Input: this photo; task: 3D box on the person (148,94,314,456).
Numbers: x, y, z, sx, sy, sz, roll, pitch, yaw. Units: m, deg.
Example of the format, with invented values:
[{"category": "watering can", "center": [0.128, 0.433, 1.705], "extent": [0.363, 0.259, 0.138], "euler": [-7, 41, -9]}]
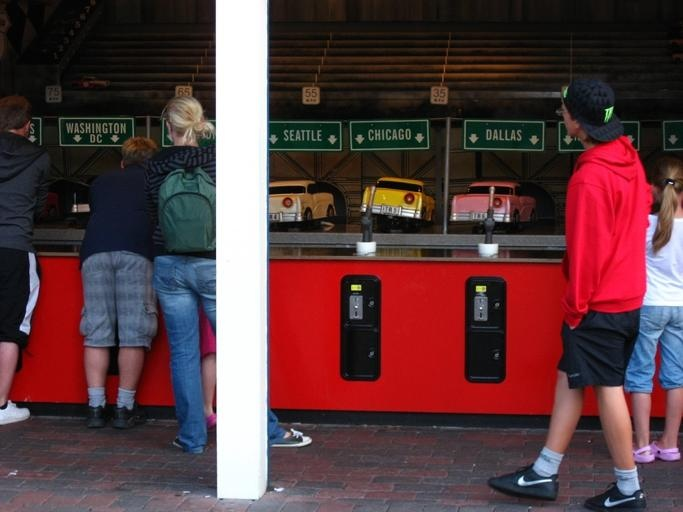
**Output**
[{"category": "person", "center": [-0.904, 0.121, 6.675], "extent": [0.848, 2.337, 0.448], "euler": [1, 6, 32]}]

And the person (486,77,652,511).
[{"category": "person", "center": [1.451, 0.226, 6.018], "extent": [0.876, 2.523, 0.436], "euler": [-2, 5, 3]}]

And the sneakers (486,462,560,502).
[{"category": "sneakers", "center": [1.089, 1.351, 6.082], "extent": [0.485, 0.186, 0.169], "euler": [5, -18, 9]}]

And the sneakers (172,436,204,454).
[{"category": "sneakers", "center": [-1.026, 1.259, 6.764], "extent": [0.229, 0.081, 0.081], "euler": [1, 0, 33]}]

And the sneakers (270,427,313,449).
[{"category": "sneakers", "center": [-0.350, 1.219, 6.813], "extent": [0.224, 0.060, 0.116], "euler": [-1, 1, -6]}]

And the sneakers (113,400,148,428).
[{"category": "sneakers", "center": [-1.502, 1.135, 7.170], "extent": [0.106, 0.110, 0.256], "euler": [2, 3, 11]}]
